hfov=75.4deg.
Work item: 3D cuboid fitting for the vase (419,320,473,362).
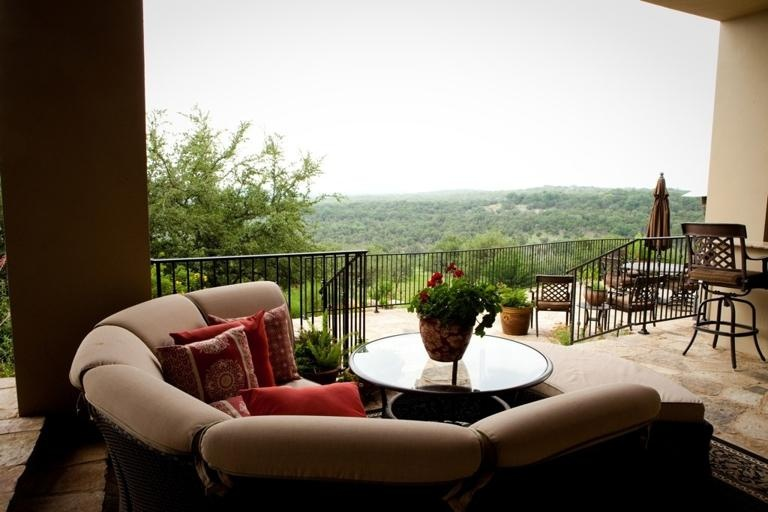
[{"bbox_3d":[0.403,0.529,3.208,0.303,0.219,0.297,3,-1,-15],"label":"vase"}]
